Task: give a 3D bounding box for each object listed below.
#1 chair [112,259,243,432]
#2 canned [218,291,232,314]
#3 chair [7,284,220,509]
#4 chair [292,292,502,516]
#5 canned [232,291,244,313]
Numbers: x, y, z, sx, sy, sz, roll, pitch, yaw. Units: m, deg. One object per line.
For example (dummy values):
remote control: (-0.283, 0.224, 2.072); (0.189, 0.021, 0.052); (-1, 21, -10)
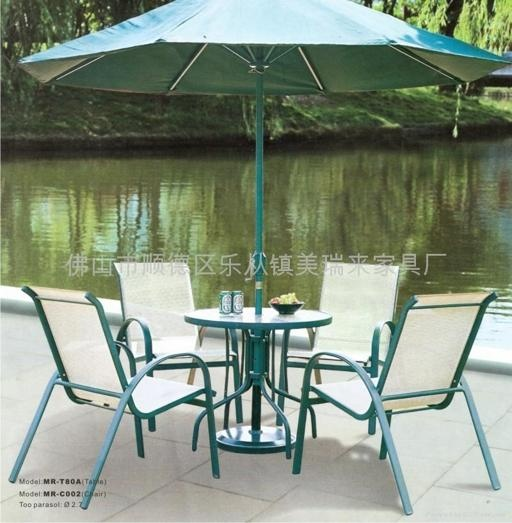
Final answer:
chair: (-0.458, 0.689, 4.146); (0.600, 0.908, 0.596); (-15, 7, 1)
canned: (-0.154, 0.213, 3.696); (0.090, 0.170, 0.093); (0, -3, -2)
chair: (-0.631, 0.570, 3.296); (0.534, 0.973, 0.799); (2, 4, 34)
chair: (0.703, 0.526, 3.420); (0.709, 1.226, 0.947); (-1, 4, -32)
canned: (-0.095, 0.215, 3.756); (0.083, 0.175, 0.089); (0, -1, -3)
